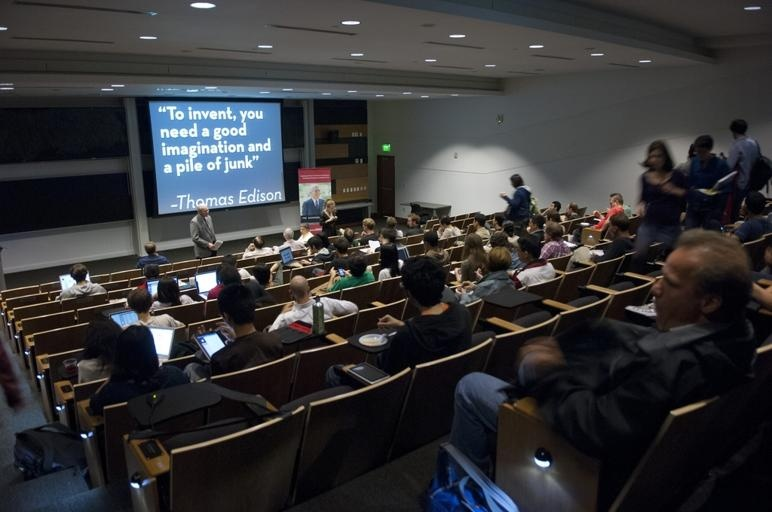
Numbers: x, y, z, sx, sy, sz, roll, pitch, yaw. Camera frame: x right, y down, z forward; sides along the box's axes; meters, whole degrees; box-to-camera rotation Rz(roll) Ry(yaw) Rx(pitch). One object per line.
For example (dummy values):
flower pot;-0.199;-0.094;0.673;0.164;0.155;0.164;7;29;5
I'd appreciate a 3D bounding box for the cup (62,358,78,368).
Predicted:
cup;-3.238;1.099;4.772;0.137;0.104;0.105;6;6;42

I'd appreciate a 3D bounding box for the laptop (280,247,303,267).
laptop;-1.670;0.043;8.284;0.352;0.322;0.434;5;12;28

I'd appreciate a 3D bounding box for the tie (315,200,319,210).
tie;-2.099;-1.581;14.207;0.140;0.209;0.049;-16;5;-36

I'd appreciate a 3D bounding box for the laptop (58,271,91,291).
laptop;-5.232;0.423;7.820;0.321;0.205;0.237;-15;27;-40

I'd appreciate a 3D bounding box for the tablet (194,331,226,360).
tablet;-1.610;0.801;4.292;0.263;0.071;0.286;-19;46;-30

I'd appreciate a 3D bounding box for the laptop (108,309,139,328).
laptop;-2.763;0.662;4.910;0.155;0.146;0.218;-17;3;40
